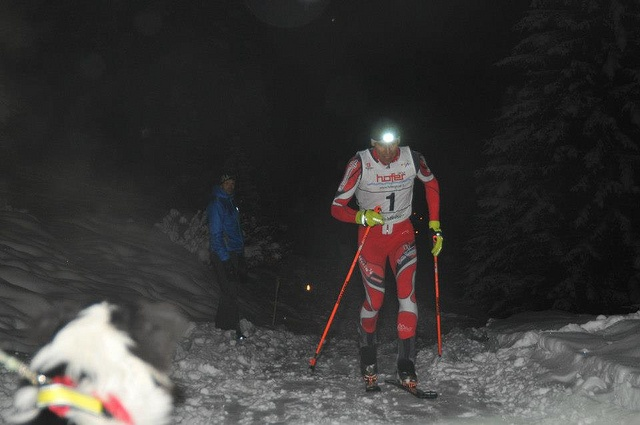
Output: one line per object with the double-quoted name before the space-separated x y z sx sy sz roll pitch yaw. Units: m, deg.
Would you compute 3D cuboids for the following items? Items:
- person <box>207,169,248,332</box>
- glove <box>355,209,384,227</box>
"person" -1.831 0.860 10.654 0.606 3.150 0.739 0 11 11
"glove" 0.847 0.097 9.448 0.298 0.160 0.389 -6 7 -32
